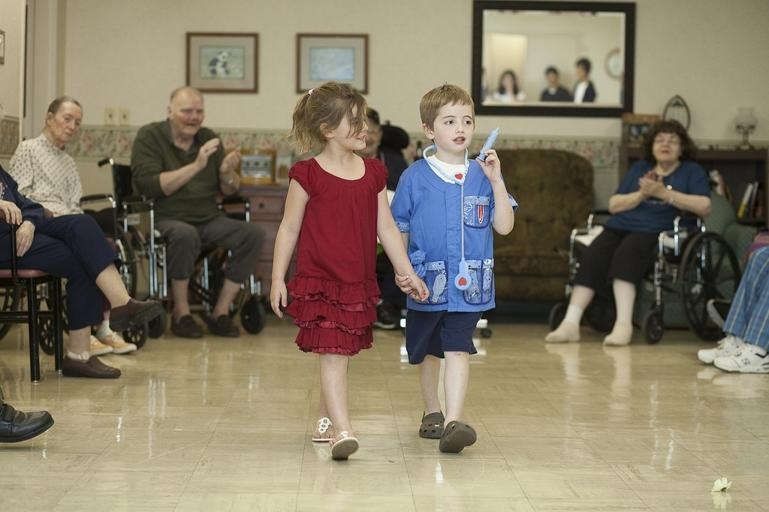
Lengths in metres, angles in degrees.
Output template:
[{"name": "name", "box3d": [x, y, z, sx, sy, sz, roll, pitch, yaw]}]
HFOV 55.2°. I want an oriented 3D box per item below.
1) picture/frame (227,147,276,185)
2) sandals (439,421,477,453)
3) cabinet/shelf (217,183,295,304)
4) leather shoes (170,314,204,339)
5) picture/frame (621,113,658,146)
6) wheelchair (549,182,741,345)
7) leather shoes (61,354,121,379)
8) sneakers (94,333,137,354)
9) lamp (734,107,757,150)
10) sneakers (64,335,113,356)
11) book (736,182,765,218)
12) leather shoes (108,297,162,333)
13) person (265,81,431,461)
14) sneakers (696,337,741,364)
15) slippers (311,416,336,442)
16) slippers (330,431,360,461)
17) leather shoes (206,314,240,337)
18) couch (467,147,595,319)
[{"name": "picture/frame", "box3d": [-1.112, -0.771, 6.525, 0.342, 0.313, 0.199, 0, 2, 1]}, {"name": "sandals", "box3d": [0.292, 0.734, 2.976, 0.136, 0.150, 0.157, 1, 8, 2]}, {"name": "cabinet/shelf", "box3d": [-1.045, -0.153, 6.336, 0.441, 0.821, 0.476, -5, 7, -2]}, {"name": "leather shoes", "box3d": [-1.332, 0.493, 5.030, 0.125, 0.094, 0.231, 1, -2, -34]}, {"name": "picture/frame", "box3d": [2.208, -1.072, 6.468, 0.355, 0.314, 0.203, 1, 3, -6]}, {"name": "wheelchair", "box3d": [2.086, 0.084, 5.106, 0.993, 0.880, 0.737, -4, -5, 7]}, {"name": "leather shoes", "box3d": [-1.579, 0.604, 4.011, 0.332, 0.127, 0.120, 1, -2, -1]}, {"name": "sneakers", "box3d": [-1.640, 0.538, 4.471, 0.292, 0.112, 0.105, 1, -3, 0]}, {"name": "lamp", "box3d": [3.193, -1.134, 6.509, 0.206, 0.362, 0.198, -14, 24, -4]}, {"name": "sneakers", "box3d": [-1.736, 0.532, 4.398, 0.299, 0.116, 0.110, 2, 0, 17]}, {"name": "book", "box3d": [3.139, -0.468, 6.315, 0.070, 0.280, 0.284, 13, -5, -14]}, {"name": "leather shoes", "box3d": [-1.401, 0.329, 4.124, 0.315, 0.131, 0.106, -30, -32, 0]}, {"name": "person", "box3d": [-0.141, 0.051, 2.990, 0.590, 1.502, 0.483, 3, 9, 15]}, {"name": "sneakers", "box3d": [1.931, 0.567, 4.393, 0.316, 0.129, 0.105, -7, 4, 7]}, {"name": "slippers", "box3d": [-0.265, 0.736, 3.116, 0.058, 0.062, 0.149, 1, -5, 0]}, {"name": "slippers", "box3d": [-0.157, 0.751, 2.906, 0.100, 0.141, 0.130, 0, 8, -6]}, {"name": "leather shoes", "box3d": [-1.120, 0.498, 5.154, 0.111, 0.096, 0.287, 1, -3, -30]}, {"name": "couch", "box3d": [1.196, -0.198, 6.046, 0.928, 1.165, 0.965, 3, 15, 15]}]
